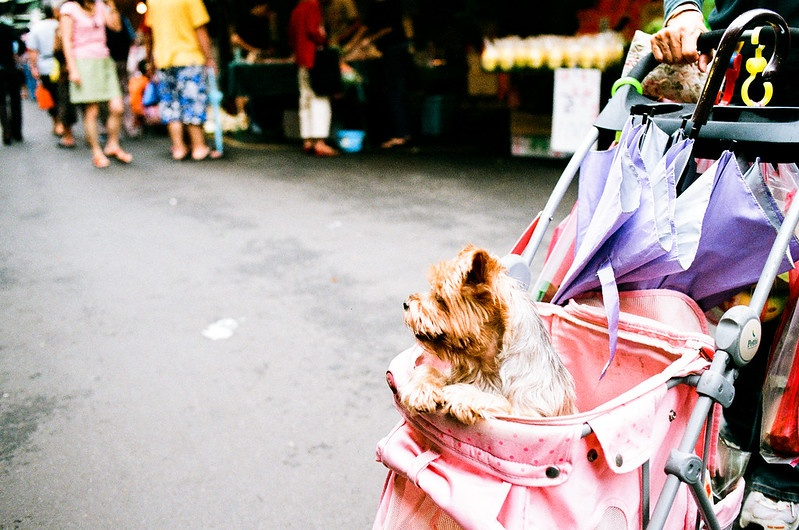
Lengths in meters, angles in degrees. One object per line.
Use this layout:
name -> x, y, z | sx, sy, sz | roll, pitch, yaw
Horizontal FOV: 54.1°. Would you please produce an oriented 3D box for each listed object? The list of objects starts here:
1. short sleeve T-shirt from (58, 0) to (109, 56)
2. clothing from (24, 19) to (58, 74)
short sleeve T-shirt -> -3.408, -2.536, 8.405 | 0.284, 0.543, 0.556 | 18, 32, 27
clothing -> -4.735, -2.881, 10.455 | 0.262, 0.742, 0.729 | -18, 27, -41
